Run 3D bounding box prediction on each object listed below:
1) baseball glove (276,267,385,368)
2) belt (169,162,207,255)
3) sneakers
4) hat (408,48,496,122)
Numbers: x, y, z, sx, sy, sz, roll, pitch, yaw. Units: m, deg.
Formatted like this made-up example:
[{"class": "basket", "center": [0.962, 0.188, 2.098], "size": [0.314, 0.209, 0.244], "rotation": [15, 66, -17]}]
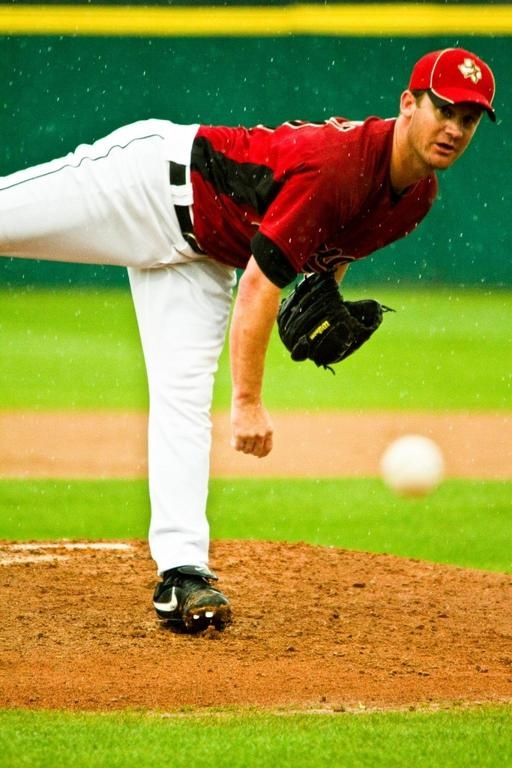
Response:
[{"class": "baseball glove", "center": [0.212, -0.185, 3.434], "size": [0.296, 0.324, 0.241], "rotation": [1, 5, 14]}, {"class": "belt", "center": [-0.173, -0.467, 3.136], "size": [0.066, 0.242, 0.127], "rotation": [4, 6, 32]}, {"class": "sneakers", "center": [-0.191, 0.583, 3.352], "size": [0.344, 0.162, 0.213], "rotation": [1, 10, -9]}, {"class": "hat", "center": [0.502, -0.795, 3.065], "size": [0.162, 0.128, 0.219], "rotation": [6, 16, -40]}]
